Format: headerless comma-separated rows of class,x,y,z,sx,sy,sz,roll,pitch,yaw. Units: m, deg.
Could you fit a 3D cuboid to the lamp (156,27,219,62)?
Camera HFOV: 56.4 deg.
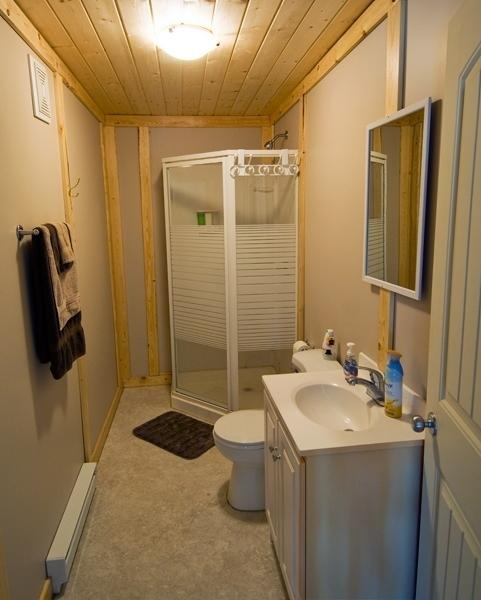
lamp,-0.231,-1.120,1.934,0.149,0.048,0.143,1,-16,-17

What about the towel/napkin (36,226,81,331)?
towel/napkin,-0.728,-0.073,1.781,0.091,0.419,0.323,-7,11,-7

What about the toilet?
toilet,0.161,0.656,2.380,0.677,0.619,0.519,0,14,-8

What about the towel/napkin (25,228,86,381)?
towel/napkin,-0.758,-0.010,1.853,0.123,0.601,0.370,-2,9,-8

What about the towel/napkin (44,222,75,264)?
towel/napkin,-0.732,-0.241,1.845,0.046,0.183,0.147,-3,5,-5

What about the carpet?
carpet,-0.424,0.922,3.086,0.634,0.015,0.454,5,12,34

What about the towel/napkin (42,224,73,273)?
towel/napkin,-0.729,-0.213,1.830,0.041,0.179,0.150,-2,16,-6
